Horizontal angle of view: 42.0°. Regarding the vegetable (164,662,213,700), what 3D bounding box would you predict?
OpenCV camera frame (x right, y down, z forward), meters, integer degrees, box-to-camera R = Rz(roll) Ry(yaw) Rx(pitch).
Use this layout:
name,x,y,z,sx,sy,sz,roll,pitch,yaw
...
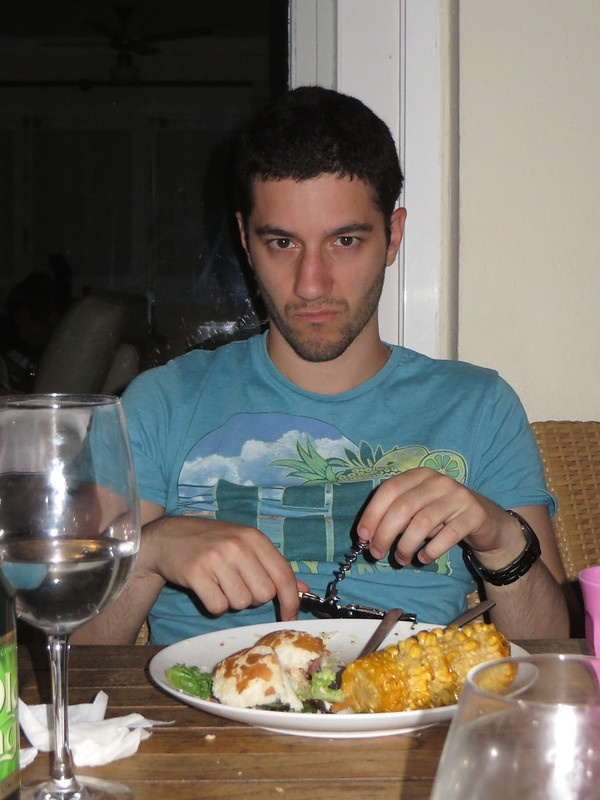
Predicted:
name,x,y,z,sx,sy,sz,roll,pitch,yaw
vegetable,-0.107,0.278,0.776,0.042,0.015,0.030,21,13,-13

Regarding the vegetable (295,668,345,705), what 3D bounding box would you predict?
name,x,y,z,sx,sy,sz,roll,pitch,yaw
vegetable,0.020,0.277,0.750,0.039,0.034,0.013,-11,-29,7

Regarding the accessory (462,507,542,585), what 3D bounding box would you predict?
name,x,y,z,sx,sy,sz,roll,pitch,yaw
accessory,0.341,0.253,1.303,0.114,0.153,0.080,1,12,13
